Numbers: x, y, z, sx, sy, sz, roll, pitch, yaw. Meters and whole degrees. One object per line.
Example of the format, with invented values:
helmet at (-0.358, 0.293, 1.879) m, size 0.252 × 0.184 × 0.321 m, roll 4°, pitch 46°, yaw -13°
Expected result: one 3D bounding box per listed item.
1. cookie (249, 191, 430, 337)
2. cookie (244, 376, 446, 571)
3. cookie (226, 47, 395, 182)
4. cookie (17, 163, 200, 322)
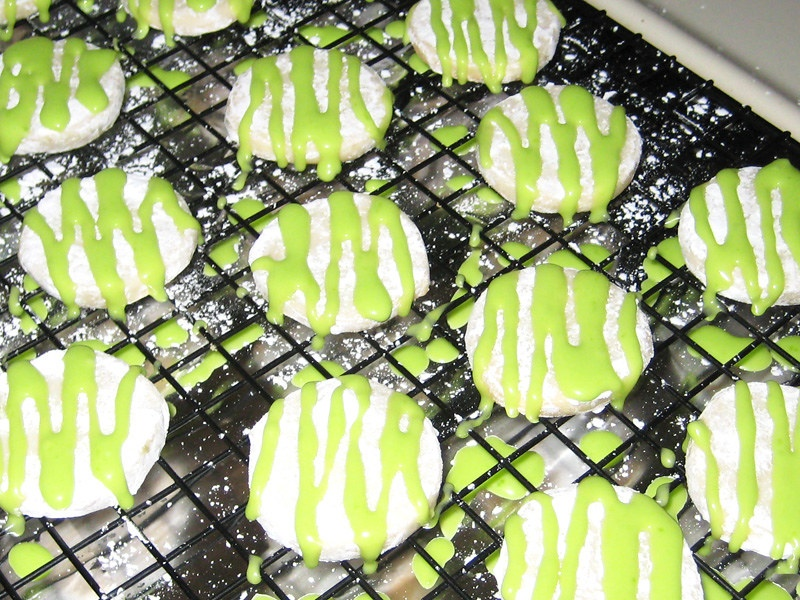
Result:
cookie at (-0.132, -0.084, 2.110) m, size 0.366 × 0.069 × 0.308 m, roll -9°, pitch 69°, yaw -7°
cookie at (-0.110, 0.322, 1.929) m, size 0.373 × 0.070 × 0.361 m, roll 0°, pitch 68°, yaw -3°
cookie at (-0.211, -0.430, 2.297) m, size 0.384 × 0.123 × 0.334 m, roll 2°, pitch 68°, yaw -2°
cookie at (-0.643, -0.076, 2.207) m, size 0.365 × 0.106 × 0.434 m, roll -8°, pitch 29°, yaw 32°
